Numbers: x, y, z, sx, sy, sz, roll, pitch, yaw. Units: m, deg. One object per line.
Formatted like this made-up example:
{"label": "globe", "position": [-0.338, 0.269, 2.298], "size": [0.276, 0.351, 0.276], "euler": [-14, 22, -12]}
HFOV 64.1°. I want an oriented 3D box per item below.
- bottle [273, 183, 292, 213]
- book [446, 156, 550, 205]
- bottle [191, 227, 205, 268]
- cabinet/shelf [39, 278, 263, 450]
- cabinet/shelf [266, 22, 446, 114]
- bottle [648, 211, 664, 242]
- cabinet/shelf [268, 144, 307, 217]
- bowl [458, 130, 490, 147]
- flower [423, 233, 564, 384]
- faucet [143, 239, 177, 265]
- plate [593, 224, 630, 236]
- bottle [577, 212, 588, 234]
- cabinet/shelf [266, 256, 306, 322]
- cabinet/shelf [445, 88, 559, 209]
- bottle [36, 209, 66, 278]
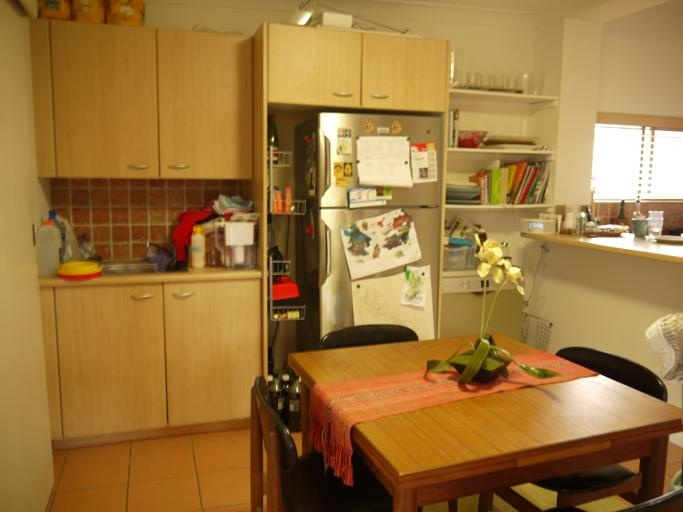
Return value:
{"label": "bottle", "position": [-0.393, -0.369, 3.693], "size": [0.140, 0.165, 0.146], "euler": [-4, 11, -7]}
{"label": "book", "position": [1.299, -0.589, 4.579], "size": [1.025, 0.382, 0.281], "euler": [-10, 13, -30]}
{"label": "bottle", "position": [-0.968, -0.063, 3.721], "size": [0.103, 0.281, 0.200], "euler": [-4, 11, -7]}
{"label": "cabinet/shelf", "position": [-1.276, 0.770, 3.773], "size": [1.352, 1.027, 0.474], "euler": [5, -19, -40]}
{"label": "cabinet/shelf", "position": [0.077, -1.276, 3.882], "size": [1.401, 0.519, 0.379], "euler": [-7, 17, -26]}
{"label": "bottle", "position": [2.424, -0.241, 4.227], "size": [0.099, 0.203, 0.287], "euler": [2, 12, 27]}
{"label": "cabinet/shelf", "position": [-0.410, -0.510, 3.830], "size": [0.300, 0.446, 0.327], "euler": [-4, 0, 9]}
{"label": "bowl", "position": [1.069, -0.955, 4.471], "size": [0.246, 0.136, 0.112], "euler": [-3, 11, 2]}
{"label": "flower", "position": [0.724, 0.244, 2.571], "size": [0.455, 0.627, 0.624], "euler": [11, -8, -15]}
{"label": "faucet", "position": [-1.253, -0.036, 3.859], "size": [0.158, 0.090, 0.221], "euler": [-3, 13, -41]}
{"label": "plate", "position": [2.232, -0.214, 4.539], "size": [0.223, 0.060, 0.165], "euler": [-6, 11, -30]}
{"label": "bottle", "position": [2.024, -0.283, 4.584], "size": [0.077, 0.174, 0.273], "euler": [2, 12, 23]}
{"label": "cabinet/shelf", "position": [-0.406, 0.236, 3.864], "size": [0.246, 0.430, 0.438], "euler": [0, 3, -13]}
{"label": "cabinet/shelf", "position": [1.336, -0.877, 4.581], "size": [1.035, 0.968, 0.349], "euler": [-1, 5, -15]}
{"label": "bottle", "position": [-1.840, -0.059, 3.480], "size": [0.177, 0.514, 0.350], "euler": [2, 10, -16]}
